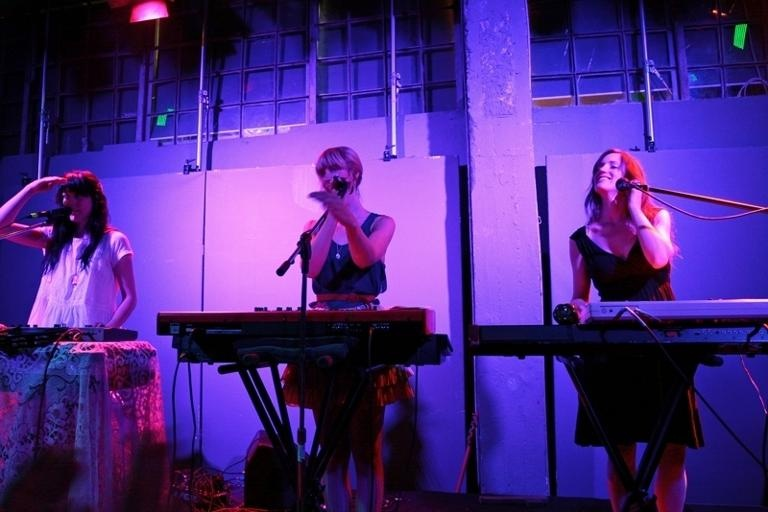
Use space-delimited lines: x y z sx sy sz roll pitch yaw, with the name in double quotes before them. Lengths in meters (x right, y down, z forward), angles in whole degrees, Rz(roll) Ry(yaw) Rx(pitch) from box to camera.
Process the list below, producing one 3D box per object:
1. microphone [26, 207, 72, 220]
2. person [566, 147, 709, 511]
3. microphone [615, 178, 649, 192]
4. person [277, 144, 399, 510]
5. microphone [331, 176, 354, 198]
"microphone" -2.059 -0.268 4.346 0.225 0.091 0.353 -1 -2 -28
"person" 1.458 0.380 4.163 0.689 2.154 0.909 -2 -2 17
"microphone" 1.411 -0.399 4.019 0.170 0.082 0.194 -3 -2 20
"person" -0.206 0.449 4.225 0.654 2.336 0.772 -3 -2 32
"microphone" -0.263 -0.416 4.099 0.101 0.037 0.133 36 -9 -33
